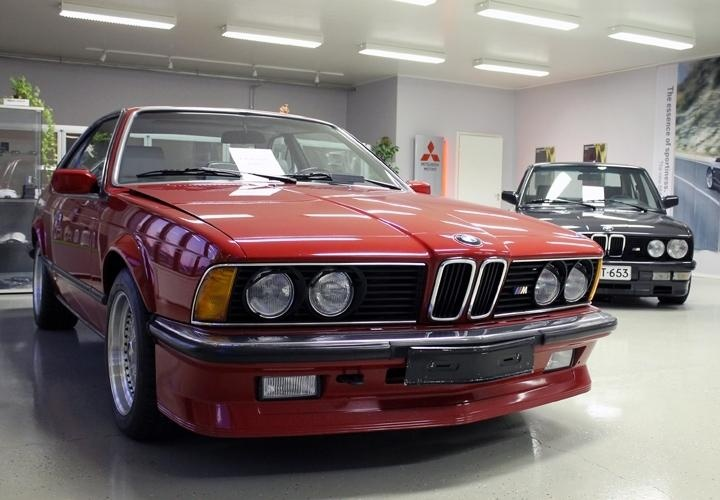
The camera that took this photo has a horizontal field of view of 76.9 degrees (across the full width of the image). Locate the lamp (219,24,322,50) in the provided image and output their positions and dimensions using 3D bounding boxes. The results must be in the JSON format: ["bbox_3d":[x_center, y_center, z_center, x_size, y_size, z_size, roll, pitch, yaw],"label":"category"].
[{"bbox_3d":[-1.876,-4.418,9.634,1.429,0.146,0.266,5,-27,-31],"label":"lamp"}]

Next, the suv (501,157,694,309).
[{"bbox_3d":[3.261,-0.333,6.479,1.533,1.187,2.724,1,-1,6],"label":"suv"}]
